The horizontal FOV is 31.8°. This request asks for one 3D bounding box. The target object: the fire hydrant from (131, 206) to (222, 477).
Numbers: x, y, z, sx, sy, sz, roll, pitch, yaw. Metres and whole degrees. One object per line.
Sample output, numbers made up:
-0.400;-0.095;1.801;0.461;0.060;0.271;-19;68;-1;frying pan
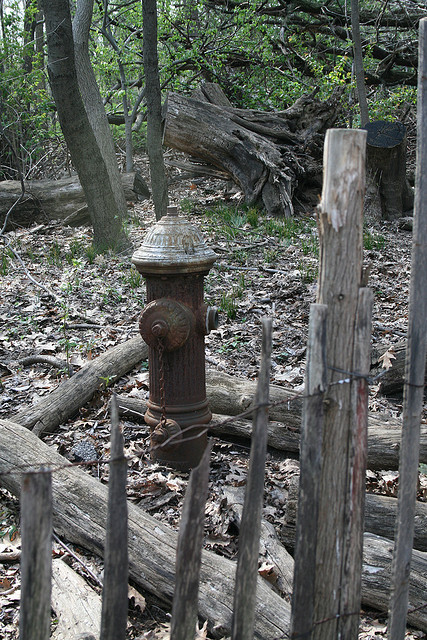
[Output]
-0.194;0.133;4.123;0.455;1.484;0.989;-3;14;-5;fire hydrant
